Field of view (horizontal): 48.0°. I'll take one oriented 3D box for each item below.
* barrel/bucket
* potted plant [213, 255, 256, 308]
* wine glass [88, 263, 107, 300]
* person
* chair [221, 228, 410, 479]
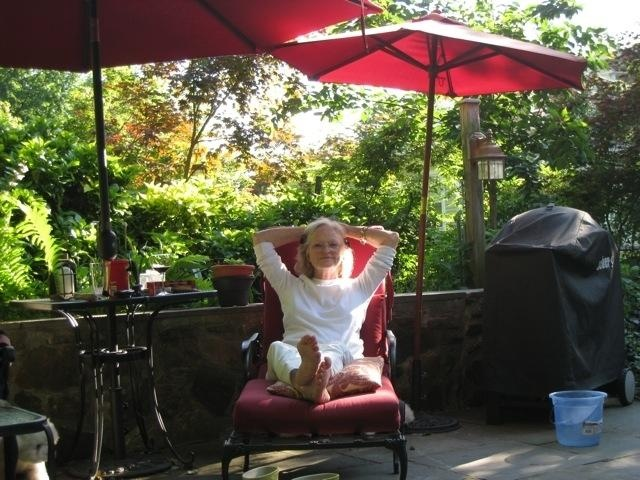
[{"bbox_3d":[1.981,1.369,5.607,0.405,0.328,0.411,0,-8,0],"label":"barrel/bucket"},{"bbox_3d":[-0.723,0.367,6.070,0.324,0.287,0.355,-1,-13,7],"label":"potted plant"},{"bbox_3d":[-1.577,0.278,5.096,0.088,0.232,0.103,-7,8,-34],"label":"wine glass"},{"bbox_3d":[0.039,0.436,5.550,0.902,1.016,1.430,3,-6,3],"label":"person"},{"bbox_3d":[0.013,0.913,5.478,1.033,1.298,1.583,0,-6,4],"label":"chair"}]
